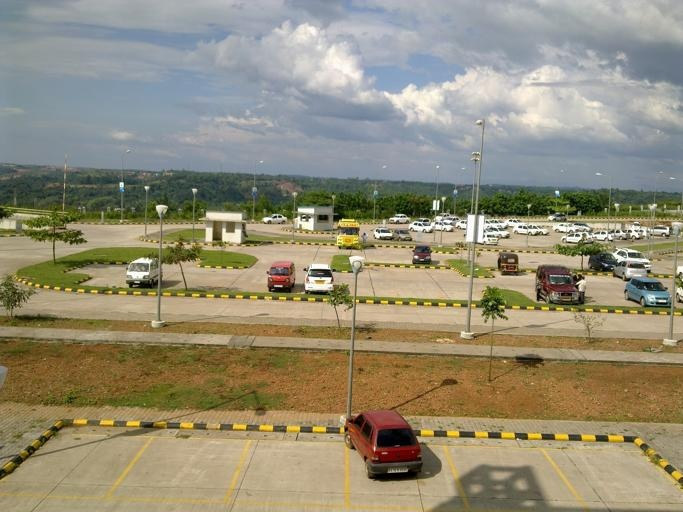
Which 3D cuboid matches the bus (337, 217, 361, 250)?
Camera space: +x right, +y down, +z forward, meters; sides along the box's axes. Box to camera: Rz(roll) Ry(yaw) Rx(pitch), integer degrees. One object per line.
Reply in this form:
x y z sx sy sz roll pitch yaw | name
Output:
0.925 -2.467 64.076 2.642 2.952 2.944 2 14 1 | bus

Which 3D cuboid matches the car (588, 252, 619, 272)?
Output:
24.021 0.605 52.433 1.443 1.027 2.302 -1 0 -2 | car

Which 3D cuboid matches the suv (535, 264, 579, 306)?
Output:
14.367 1.862 38.365 1.855 1.573 3.169 0 2 3 | suv

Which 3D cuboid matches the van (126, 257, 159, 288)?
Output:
-13.522 1.125 38.815 1.709 2.068 1.829 1 14 -5 | van

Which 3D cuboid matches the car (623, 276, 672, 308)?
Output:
20.643 2.428 38.355 1.615 1.068 2.733 0 0 3 | car

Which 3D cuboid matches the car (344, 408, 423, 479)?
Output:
1.217 5.508 17.342 1.425 0.925 2.268 1 10 -9 | car

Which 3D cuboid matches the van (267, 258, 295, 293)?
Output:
-4.122 1.268 39.450 1.425 1.118 2.483 1 14 -1 | van

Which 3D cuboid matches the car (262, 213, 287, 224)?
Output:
-11.551 -6.488 99.091 3.669 1.126 1.968 0 1 -28 | car

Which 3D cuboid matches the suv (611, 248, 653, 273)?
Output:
26.617 0.231 51.774 2.294 1.576 3.885 0 0 4 | suv

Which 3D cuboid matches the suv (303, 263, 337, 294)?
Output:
-1.542 1.426 38.575 1.459 0.984 2.753 1 12 -3 | suv
